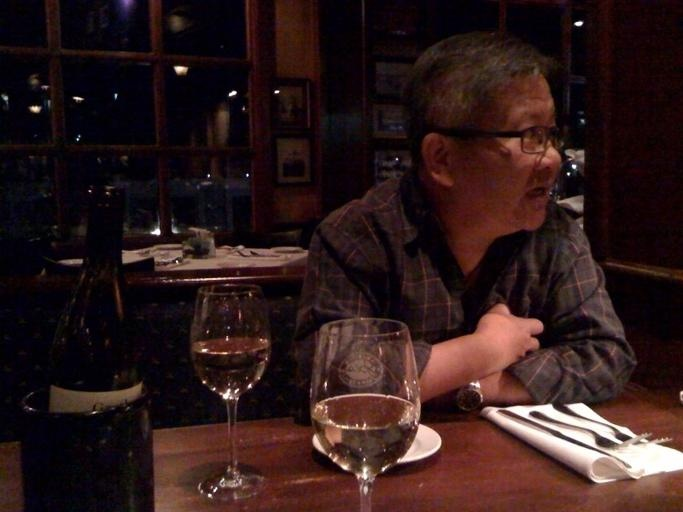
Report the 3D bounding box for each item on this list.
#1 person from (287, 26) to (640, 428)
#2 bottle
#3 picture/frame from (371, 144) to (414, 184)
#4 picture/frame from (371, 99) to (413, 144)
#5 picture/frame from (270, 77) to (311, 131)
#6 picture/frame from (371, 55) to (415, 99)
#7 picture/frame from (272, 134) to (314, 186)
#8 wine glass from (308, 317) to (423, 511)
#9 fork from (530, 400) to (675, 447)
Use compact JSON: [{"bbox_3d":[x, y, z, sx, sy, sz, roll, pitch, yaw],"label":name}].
[{"bbox_3d":[0.306,-0.081,1.688,0.922,1.033,0.665,-7,16,-23],"label":"person"},{"bbox_3d":[-0.387,0.056,0.898,0.136,0.315,0.294,-5,6,-24],"label":"bottle"},{"bbox_3d":[0.410,-0.682,4.435,0.329,0.321,0.122,4,11,22],"label":"picture/frame"},{"bbox_3d":[0.362,-0.986,4.348,0.279,0.275,0.031,2,-9,-3],"label":"picture/frame"},{"bbox_3d":[-0.524,-1.555,6.096,0.404,0.559,0.062,-1,1,-4],"label":"picture/frame"},{"bbox_3d":[0.386,-1.286,4.286,0.388,0.278,0.031,-8,15,-31],"label":"picture/frame"},{"bbox_3d":[-0.524,-1.017,6.092,0.507,0.633,0.049,0,6,-5],"label":"picture/frame"},{"bbox_3d":[0.036,0.239,0.857,0.157,0.280,0.112,-2,6,4],"label":"wine glass"},{"bbox_3d":[0.521,0.305,1.150,0.085,0.038,0.256,-6,3,-25],"label":"fork"}]
